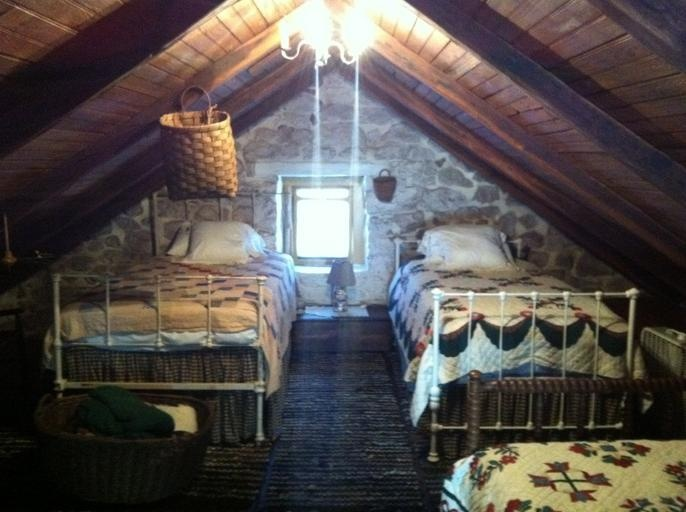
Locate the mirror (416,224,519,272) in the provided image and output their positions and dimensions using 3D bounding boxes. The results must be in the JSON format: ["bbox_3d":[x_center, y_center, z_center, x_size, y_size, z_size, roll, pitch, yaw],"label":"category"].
[{"bbox_3d":[0.995,-0.071,5.272,0.603,0.107,0.467,0,24,2],"label":"mirror"}]

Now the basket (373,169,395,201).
[{"bbox_3d":[0.333,-0.611,5.777,0.277,0.264,0.214,-3,-3,13],"label":"basket"}]

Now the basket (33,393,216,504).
[{"bbox_3d":[-1.119,0.959,3.220,0.871,0.245,0.609,1,3,-28],"label":"basket"}]

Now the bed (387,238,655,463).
[{"bbox_3d":[1.260,0.586,4.537,1.362,0.646,1.905,-4,-3,13],"label":"bed"}]

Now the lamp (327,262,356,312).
[{"bbox_3d":[-0.027,0.249,5.670,0.231,0.471,0.460,5,-7,1],"label":"lamp"}]

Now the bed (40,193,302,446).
[{"bbox_3d":[-1.092,0.159,4.464,1.584,0.987,1.850,-1,17,-4],"label":"bed"}]
